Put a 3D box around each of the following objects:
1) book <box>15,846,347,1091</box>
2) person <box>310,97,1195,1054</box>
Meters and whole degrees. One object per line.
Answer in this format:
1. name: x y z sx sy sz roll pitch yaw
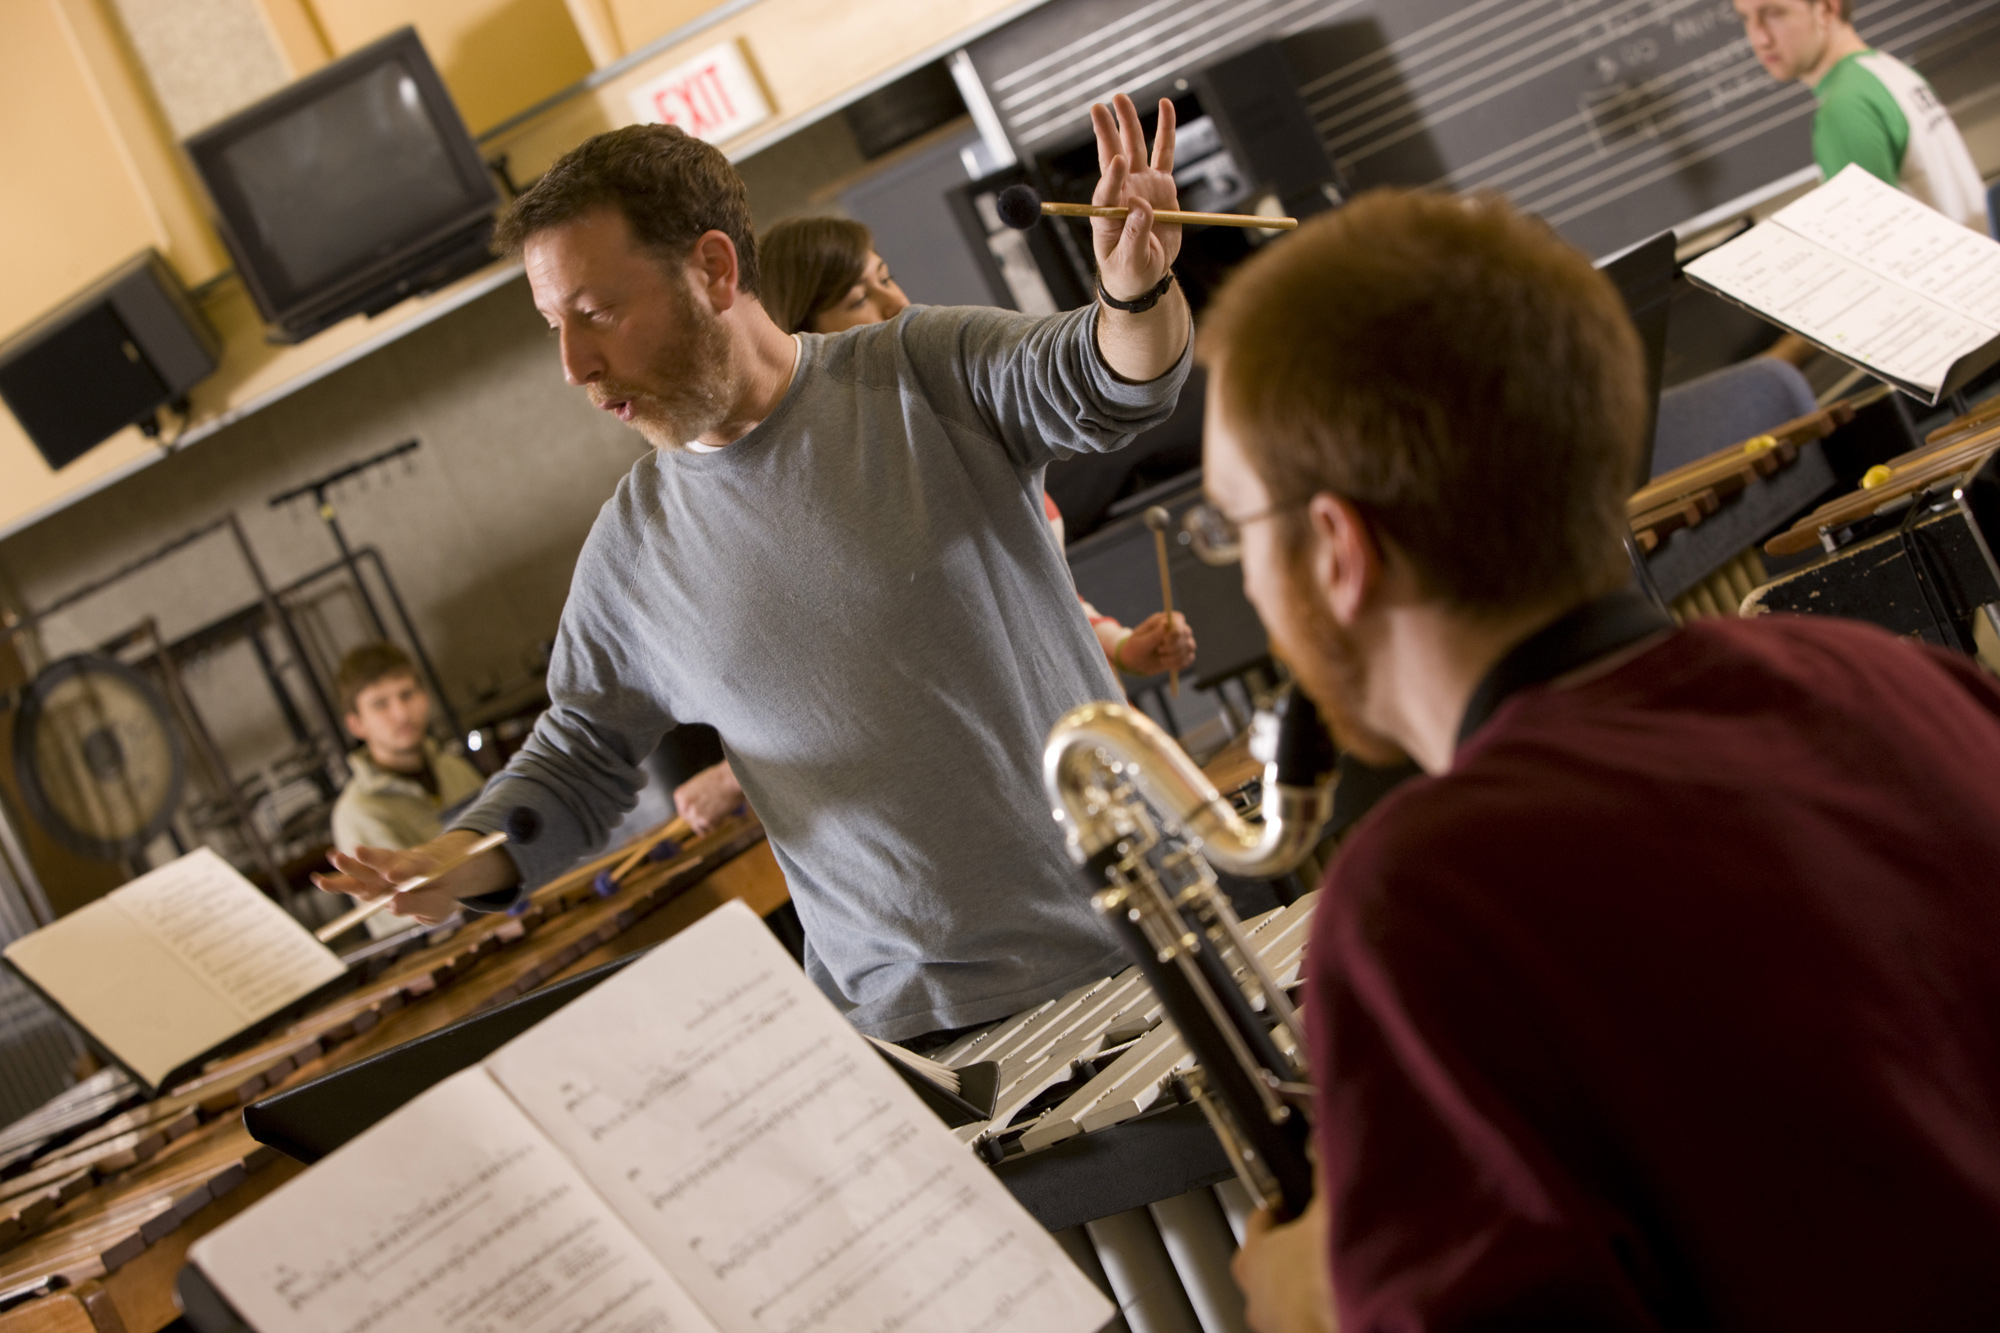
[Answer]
1. book: -1.601 0.571 3.134 0.534 0.460 0.038 -37 -14 -46
2. person: -0.173 0.139 2.536 0.839 1.992 0.863 -4 17 35
